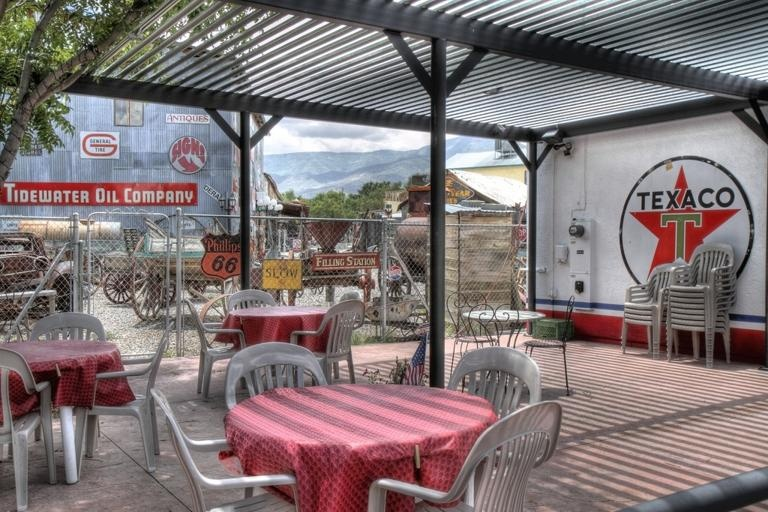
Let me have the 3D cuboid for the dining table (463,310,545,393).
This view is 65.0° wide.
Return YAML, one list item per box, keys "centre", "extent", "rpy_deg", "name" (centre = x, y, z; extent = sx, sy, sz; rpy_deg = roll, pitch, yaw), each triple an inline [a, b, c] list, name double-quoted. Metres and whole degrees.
- centre: [1.618, 1.338, 8.568]
  extent: [1.151, 0.849, 1.157]
  rpy_deg: [1, -1, -21]
  name: "dining table"

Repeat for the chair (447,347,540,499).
- centre: [0.953, 1.290, 5.229]
  extent: [0.921, 1.286, 0.943]
  rpy_deg: [6, -6, -43]
  name: "chair"

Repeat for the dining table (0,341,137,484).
- centre: [-2.946, 1.230, 5.844]
  extent: [1.211, 0.949, 1.251]
  rpy_deg: [7, 10, 39]
  name: "dining table"
